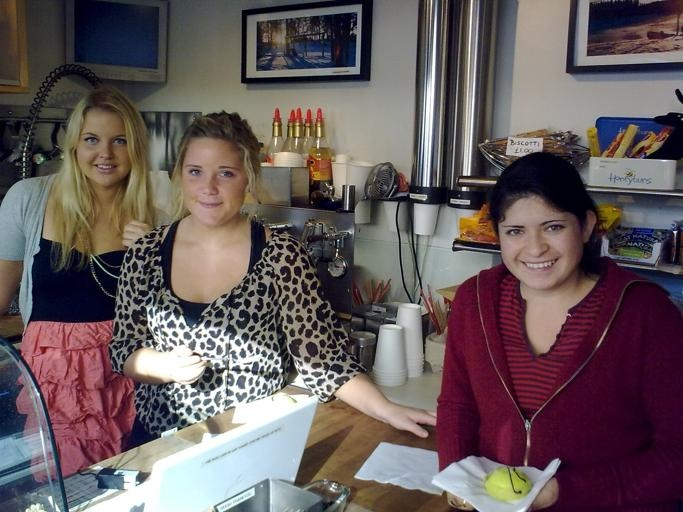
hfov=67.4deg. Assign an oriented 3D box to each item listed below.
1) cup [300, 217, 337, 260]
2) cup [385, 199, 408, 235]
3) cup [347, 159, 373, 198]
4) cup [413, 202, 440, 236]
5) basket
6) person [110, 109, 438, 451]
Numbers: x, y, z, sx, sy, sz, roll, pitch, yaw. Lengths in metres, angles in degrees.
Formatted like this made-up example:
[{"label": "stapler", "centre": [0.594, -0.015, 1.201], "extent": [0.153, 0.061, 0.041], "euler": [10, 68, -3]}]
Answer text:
[{"label": "cup", "centre": [-0.095, -0.073, 2.260], "extent": [0.165, 0.162, 0.082], "euler": [8, 11, 44]}, {"label": "cup", "centre": [0.275, -0.199, 2.566], "extent": [0.127, 0.146, 0.133], "euler": [-2, 5, 0]}, {"label": "cup", "centre": [0.084, -0.398, 2.591], "extent": [0.148, 0.178, 0.171], "euler": [0, 8, -15]}, {"label": "cup", "centre": [0.402, -0.180, 2.464], "extent": [0.135, 0.159, 0.139], "euler": [3, 3, 0]}, {"label": "basket", "centre": [0.819, -0.399, 2.220], "extent": [0.462, 0.180, 0.190], "euler": [2, 8, 15]}, {"label": "person", "centre": [-0.313, 0.083, 1.641], "extent": [0.926, 1.077, 0.538], "euler": [8, 14, 38]}]
